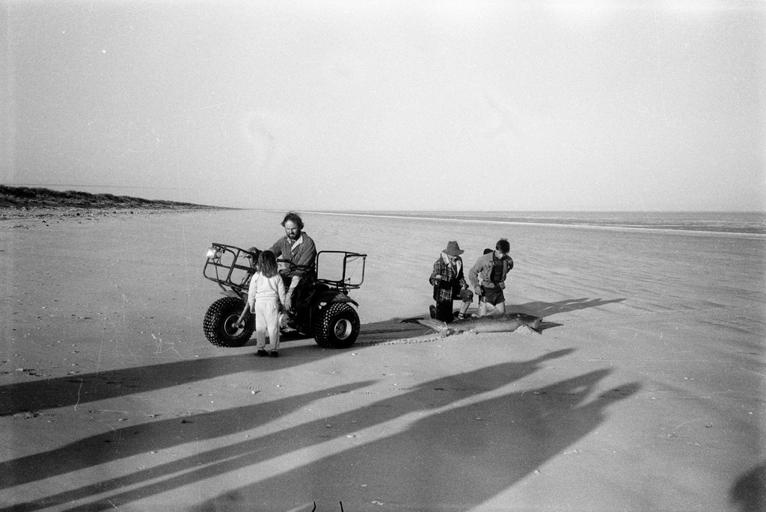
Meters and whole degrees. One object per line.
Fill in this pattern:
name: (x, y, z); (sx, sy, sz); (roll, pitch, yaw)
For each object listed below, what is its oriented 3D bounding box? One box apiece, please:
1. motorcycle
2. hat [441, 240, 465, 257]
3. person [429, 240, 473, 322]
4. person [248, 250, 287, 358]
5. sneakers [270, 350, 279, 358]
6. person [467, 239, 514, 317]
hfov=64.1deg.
motorcycle: (-1.437, 0.589, 8.990); (2.249, 1.555, 1.400); (3, 1, -30)
hat: (1.171, -0.119, 10.186); (0.371, 0.221, 0.410); (3, 2, 9)
person: (1.144, 0.437, 10.202); (0.691, 1.395, 1.135); (3, 13, 7)
person: (-1.556, 0.626, 8.227); (0.617, 1.437, 0.476); (13, 16, 41)
sneakers: (-1.439, 1.293, 8.079); (0.061, 0.077, 0.174); (0, -13, -9)
person: (1.861, 0.529, 10.356); (0.750, 1.769, 0.617); (-4, 19, -8)
